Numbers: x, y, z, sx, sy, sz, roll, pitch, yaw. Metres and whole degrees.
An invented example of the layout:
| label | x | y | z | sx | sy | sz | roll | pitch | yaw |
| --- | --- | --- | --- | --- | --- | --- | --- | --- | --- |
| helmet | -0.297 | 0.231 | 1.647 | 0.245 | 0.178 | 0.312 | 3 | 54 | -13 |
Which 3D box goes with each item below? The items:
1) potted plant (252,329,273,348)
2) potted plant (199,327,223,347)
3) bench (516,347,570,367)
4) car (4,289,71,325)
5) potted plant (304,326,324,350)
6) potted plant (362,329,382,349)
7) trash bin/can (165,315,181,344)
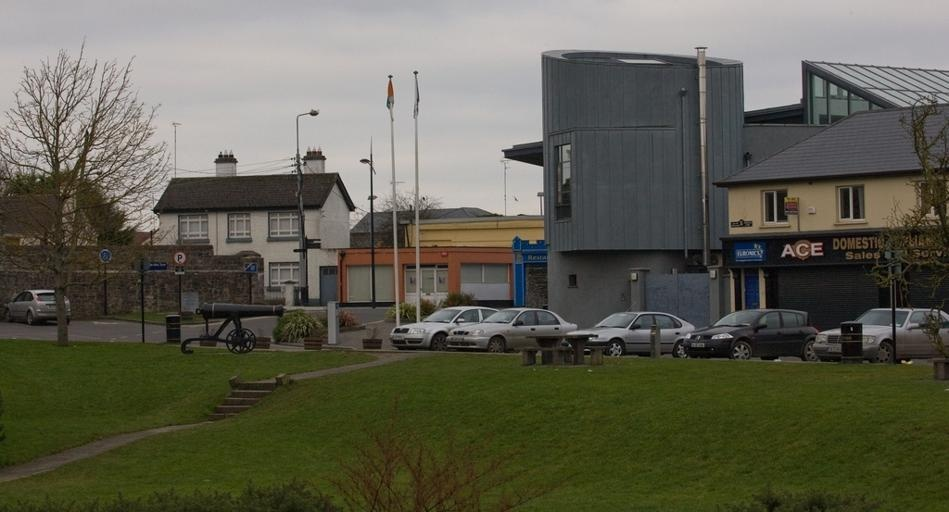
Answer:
| label | x | y | z | sx | sy | sz | roll | pitch | yaw |
| --- | --- | --- | --- | --- | --- | --- | --- | --- | --- |
| potted plant | -11.178 | 4.195 | 69.502 | 1.288 | 1.129 | 1.147 | 0 | -4 | -3 |
| potted plant | -13.930 | 4.275 | 70.329 | 1.306 | 1.112 | 0.919 | -1 | -5 | 11 |
| bench | 3.279 | 4.596 | 61.011 | 2.323 | 0.755 | 1.054 | -1 | -5 | 4 |
| car | -26.479 | 3.013 | 80.343 | 2.238 | 2.262 | 3.230 | 3 | -6 | -29 |
| potted plant | -8.432 | 4.220 | 68.548 | 1.198 | 1.497 | 0.946 | 1 | -4 | 0 |
| potted plant | -5.478 | 4.364 | 69.401 | 0.945 | 1.151 | 0.815 | 1 | -7 | -1 |
| trash bin/can | -16.132 | 3.885 | 71.302 | 0.690 | 1.496 | 0.598 | 0 | -5 | -5 |
